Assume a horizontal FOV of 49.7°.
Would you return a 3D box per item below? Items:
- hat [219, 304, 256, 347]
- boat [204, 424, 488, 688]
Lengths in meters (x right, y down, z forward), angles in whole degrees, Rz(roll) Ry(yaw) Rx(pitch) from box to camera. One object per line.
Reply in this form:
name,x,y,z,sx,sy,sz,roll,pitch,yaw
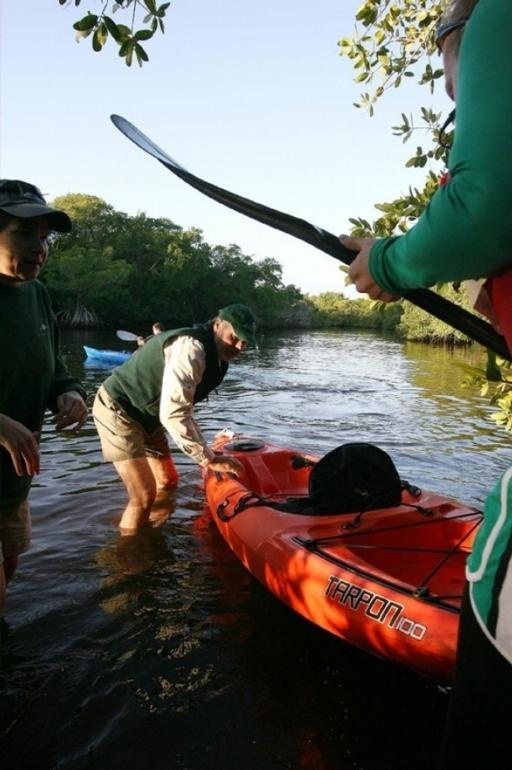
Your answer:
hat,-0.126,-0.474,4.212,0.336,0.183,0.248,44,13,19
boat,0.526,0.962,3.586,1.067,0.664,2.052,-1,9,-21
